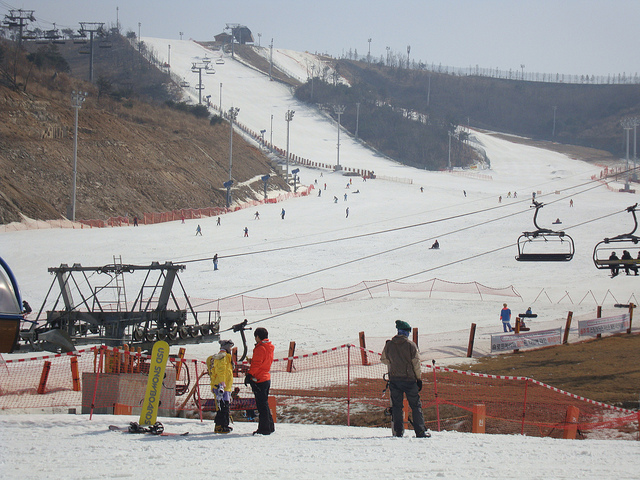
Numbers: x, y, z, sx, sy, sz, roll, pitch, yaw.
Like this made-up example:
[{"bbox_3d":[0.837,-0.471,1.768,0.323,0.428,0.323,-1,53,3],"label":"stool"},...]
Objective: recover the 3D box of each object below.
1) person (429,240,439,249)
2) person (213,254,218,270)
[{"bbox_3d":[15.373,0.316,220.106,1.059,1.196,1.380,-3,-5,17],"label":"person"},{"bbox_3d":[-13.606,2.561,212.292,0.517,1.894,1.192,-1,-4,-8],"label":"person"}]
